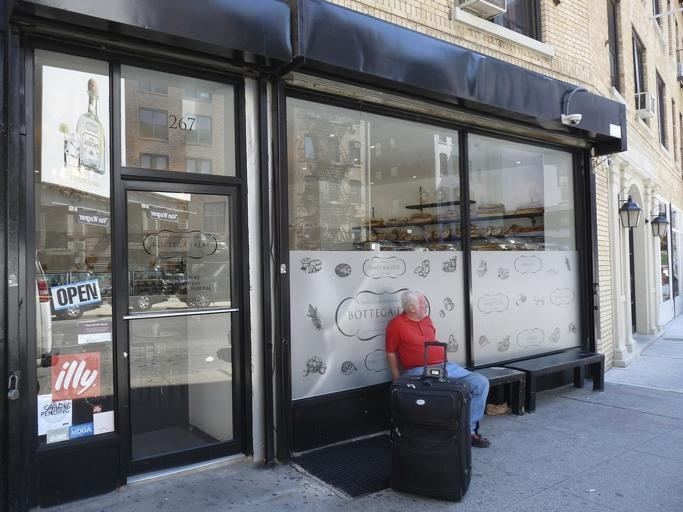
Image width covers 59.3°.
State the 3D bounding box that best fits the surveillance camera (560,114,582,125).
[{"bbox_3d":[3.094,-1.845,8.109,0.186,0.105,0.199,-3,-4,41],"label":"surveillance camera"}]

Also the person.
[{"bbox_3d":[1.095,1.070,6.756,0.941,1.872,0.785,-1,-1,38],"label":"person"}]

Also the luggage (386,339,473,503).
[{"bbox_3d":[0.842,1.559,5.748,0.771,1.396,0.597,3,7,28],"label":"luggage"}]

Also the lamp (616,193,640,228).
[{"bbox_3d":[5.076,-0.786,10.646,0.320,0.514,0.431,2,6,21],"label":"lamp"}]

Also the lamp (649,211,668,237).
[{"bbox_3d":[7.058,-0.692,13.391,0.297,0.452,0.684,3,6,27],"label":"lamp"}]

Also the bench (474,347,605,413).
[{"bbox_3d":[2.713,1.692,8.136,2.525,0.620,0.640,-5,8,-41],"label":"bench"}]
